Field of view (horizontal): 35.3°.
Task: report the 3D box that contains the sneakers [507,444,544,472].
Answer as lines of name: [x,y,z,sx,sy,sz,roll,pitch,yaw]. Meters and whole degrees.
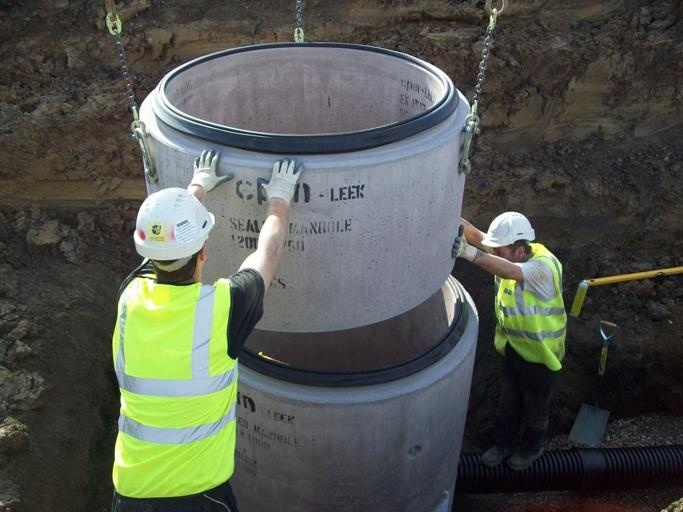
sneakers: [1.903,2.140,11.364,0.408,0.176,0.177,-28,67,-15]

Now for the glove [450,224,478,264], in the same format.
glove: [1.135,-0.087,10.067,0.242,0.332,0.170,-14,32,-8]

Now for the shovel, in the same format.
shovel: [2.882,1.395,12.235,0.392,1.418,0.849,9,21,24]

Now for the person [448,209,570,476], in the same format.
person: [1.720,0.912,10.998,1.109,2.746,0.809,0,19,0]

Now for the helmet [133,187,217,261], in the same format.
helmet: [-1.453,-0.266,9.123,0.537,0.362,0.649,13,37,15]

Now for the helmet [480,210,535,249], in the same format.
helmet: [1.661,-0.279,10.702,0.437,0.236,0.323,-6,22,-13]

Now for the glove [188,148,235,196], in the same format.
glove: [-1.185,-0.728,9.448,0.393,0.402,0.108,9,-2,2]

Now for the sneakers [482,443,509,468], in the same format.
sneakers: [1.628,2.128,11.416,0.347,0.139,0.148,-22,63,-37]
